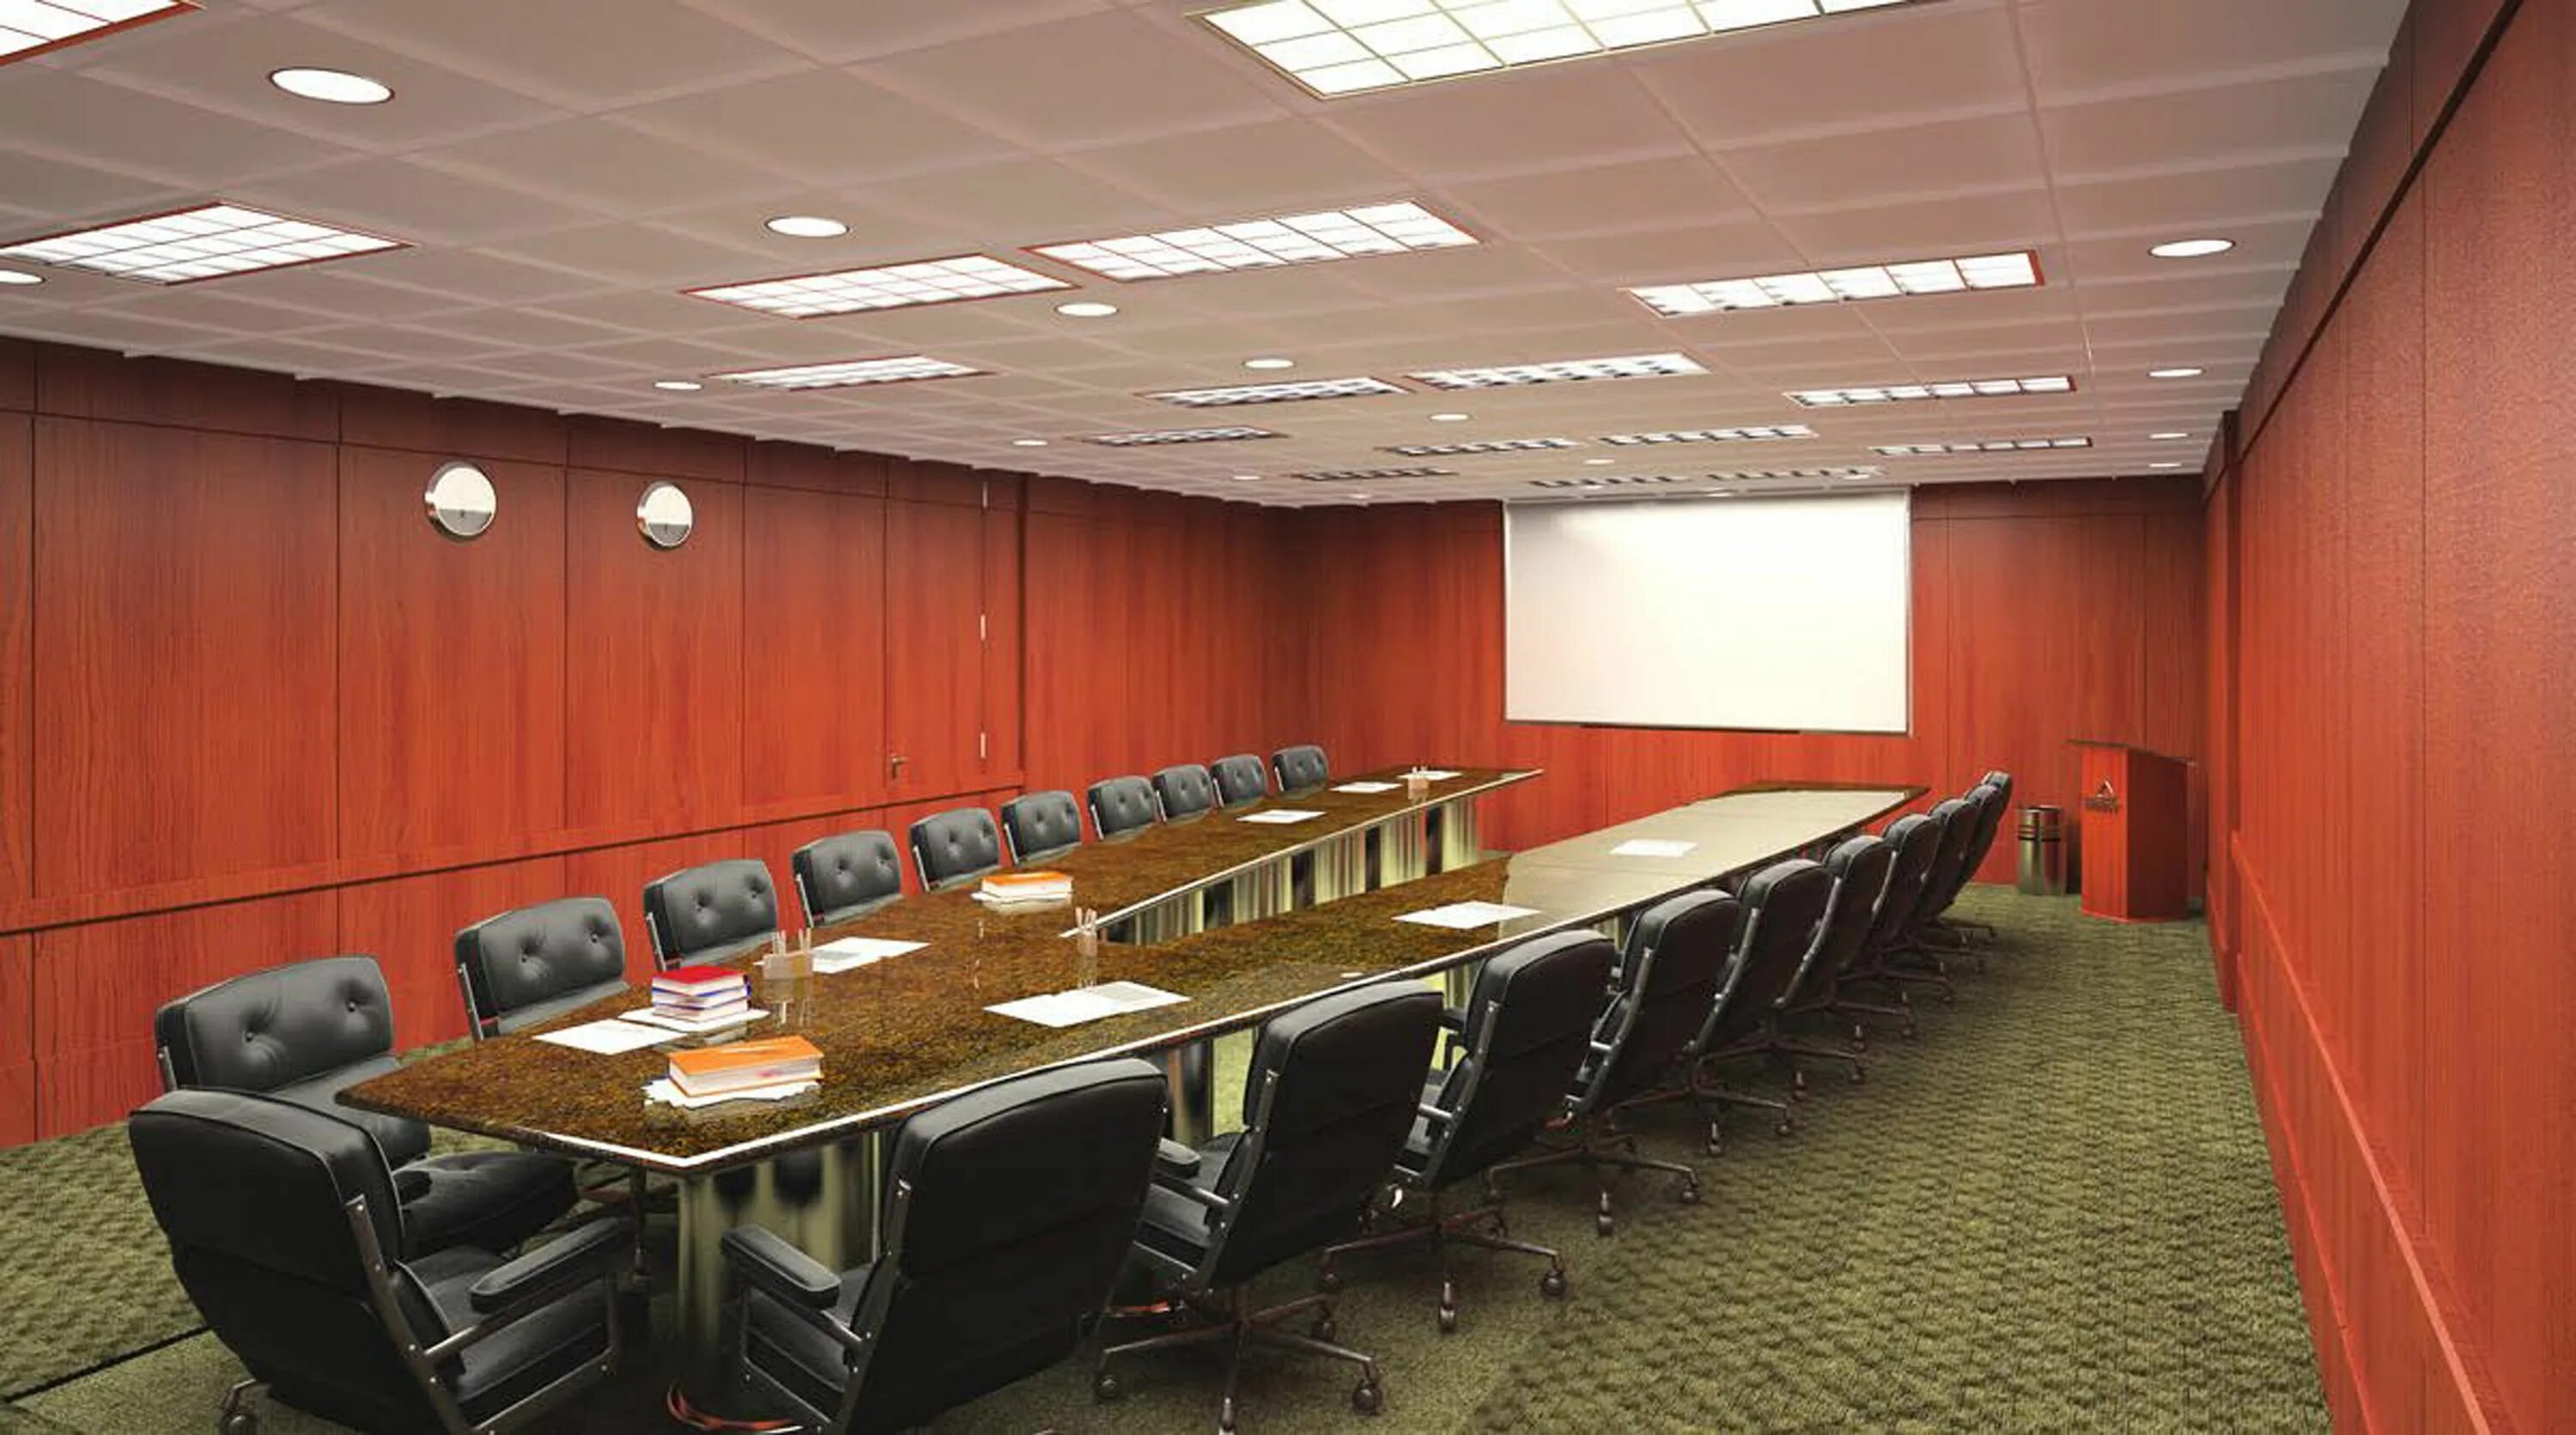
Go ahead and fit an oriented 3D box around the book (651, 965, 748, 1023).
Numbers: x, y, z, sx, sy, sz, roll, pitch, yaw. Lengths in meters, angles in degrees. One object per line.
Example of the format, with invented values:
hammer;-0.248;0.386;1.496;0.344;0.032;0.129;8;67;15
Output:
book;-2.307;1.070;5.638;0.239;0.109;0.293;2;2;33
